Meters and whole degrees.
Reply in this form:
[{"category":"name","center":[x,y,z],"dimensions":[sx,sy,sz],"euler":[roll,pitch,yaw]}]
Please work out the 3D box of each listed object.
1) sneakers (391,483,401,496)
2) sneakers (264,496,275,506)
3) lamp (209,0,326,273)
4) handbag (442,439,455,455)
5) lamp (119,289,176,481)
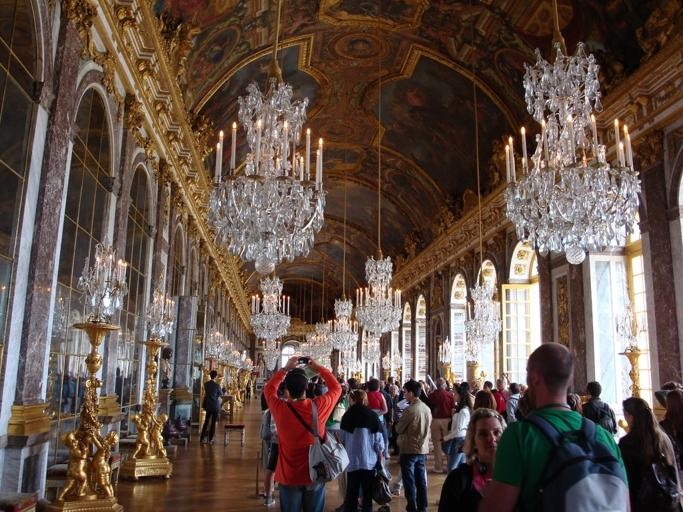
[{"category":"sneakers","center":[0.897,3.842,8.367],"dimensions":[0.136,0.165,0.106],"euler":[0,-7,5]},{"category":"sneakers","center":[-1.029,3.535,7.408],"dimensions":[0.079,0.104,0.220],"euler":[-1,-6,5]},{"category":"lamp","center":[-1.036,-1.363,7.367],"dimensions":[1.592,2.980,1.353],"euler":[2,-17,-5]},{"category":"handbag","center":[1.646,2.968,7.959],"dimensions":[0.092,0.346,0.314],"euler":[9,-12,-10]},{"category":"lamp","center":[-3.148,2.054,8.665],"dimensions":[0.799,3.235,1.433],"euler":[7,-18,-22]}]
